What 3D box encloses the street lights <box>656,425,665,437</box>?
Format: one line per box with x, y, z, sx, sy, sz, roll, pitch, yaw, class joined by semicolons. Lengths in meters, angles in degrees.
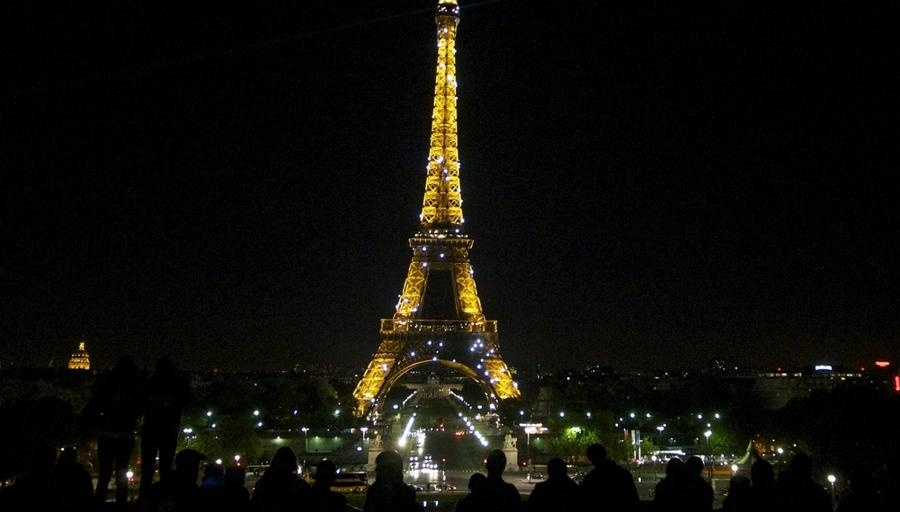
17.352;14.268;74.152;0.967;0.746;1.086;-10;-9;9;street lights
